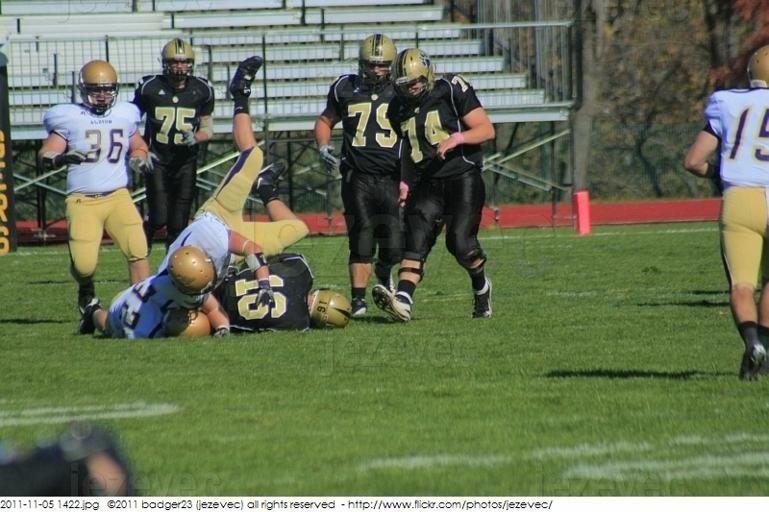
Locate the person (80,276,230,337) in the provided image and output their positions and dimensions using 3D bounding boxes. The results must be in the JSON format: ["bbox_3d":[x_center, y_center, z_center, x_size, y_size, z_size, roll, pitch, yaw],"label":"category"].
[{"bbox_3d":[-3.117,0.714,22.040,1.296,0.450,0.910,2,2,10],"label":"person"}]

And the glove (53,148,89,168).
[{"bbox_3d":[-4.372,-1.356,22.518,0.452,0.207,0.185,-2,8,-12],"label":"glove"}]

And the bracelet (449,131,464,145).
[{"bbox_3d":[0.966,-1.614,22.274,0.229,0.148,0.143,-7,11,-39],"label":"bracelet"}]

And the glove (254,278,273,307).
[{"bbox_3d":[-1.626,0.498,21.848,0.241,0.349,0.136,-6,12,-1],"label":"glove"}]

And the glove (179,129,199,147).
[{"bbox_3d":[-2.899,-1.743,23.977,0.213,0.162,0.217,-7,4,-35],"label":"glove"}]

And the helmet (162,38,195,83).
[{"bbox_3d":[-3.039,-2.882,23.891,0.493,0.592,0.633,-2,27,-10],"label":"helmet"}]
